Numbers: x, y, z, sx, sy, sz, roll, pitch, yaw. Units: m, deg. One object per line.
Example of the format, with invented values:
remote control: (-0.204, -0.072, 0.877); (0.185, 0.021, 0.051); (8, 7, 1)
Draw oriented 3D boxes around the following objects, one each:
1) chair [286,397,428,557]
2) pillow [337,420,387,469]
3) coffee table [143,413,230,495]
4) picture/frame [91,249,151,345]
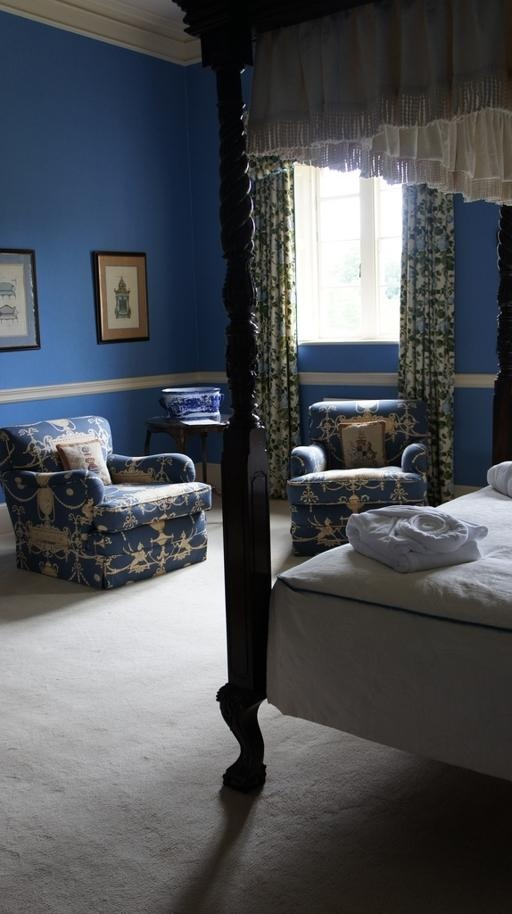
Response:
chair: (0.608, 0.087, 4.628); (0.762, 1.147, 1.067); (-1, -2, 17)
pillow: (0.730, -0.081, 4.635); (0.278, 0.335, 0.125); (-3, -4, 19)
coffee table: (-0.469, -0.123, 5.305); (0.647, 0.826, 0.661); (-1, 4, -30)
picture/frame: (-1.112, -1.296, 5.631); (0.053, 0.822, 0.713); (5, 12, 29)
